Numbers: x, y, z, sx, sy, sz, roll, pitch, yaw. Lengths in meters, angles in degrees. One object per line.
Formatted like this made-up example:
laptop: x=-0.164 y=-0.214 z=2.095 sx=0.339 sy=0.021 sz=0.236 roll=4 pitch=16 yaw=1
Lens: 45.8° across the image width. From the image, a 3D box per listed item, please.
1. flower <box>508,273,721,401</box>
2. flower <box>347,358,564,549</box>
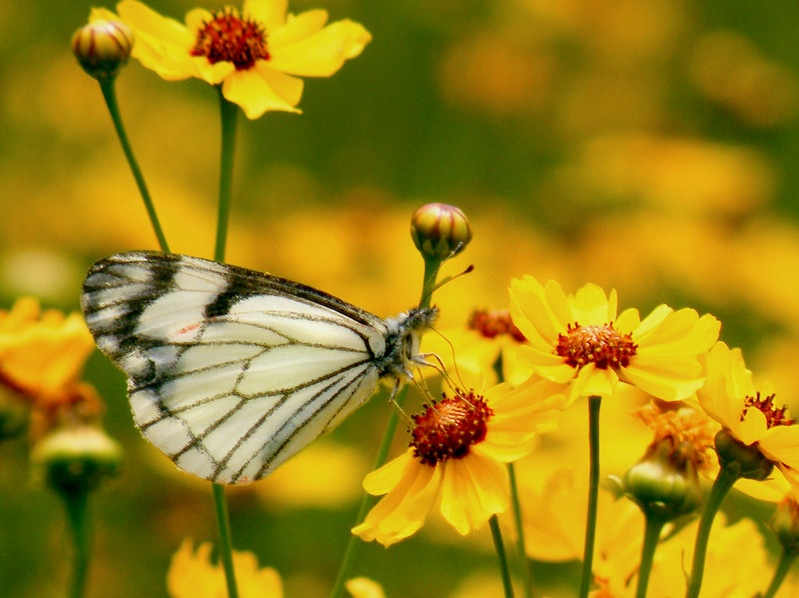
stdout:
flower: x=0.235 y=0.044 z=1.109 sx=0.232 sy=0.287 sz=0.089 roll=7 pitch=-69 yaw=27
flower: x=0.078 y=0.183 z=1.112 sx=0.200 sy=0.223 sz=0.074 roll=-35 pitch=-54 yaw=27
